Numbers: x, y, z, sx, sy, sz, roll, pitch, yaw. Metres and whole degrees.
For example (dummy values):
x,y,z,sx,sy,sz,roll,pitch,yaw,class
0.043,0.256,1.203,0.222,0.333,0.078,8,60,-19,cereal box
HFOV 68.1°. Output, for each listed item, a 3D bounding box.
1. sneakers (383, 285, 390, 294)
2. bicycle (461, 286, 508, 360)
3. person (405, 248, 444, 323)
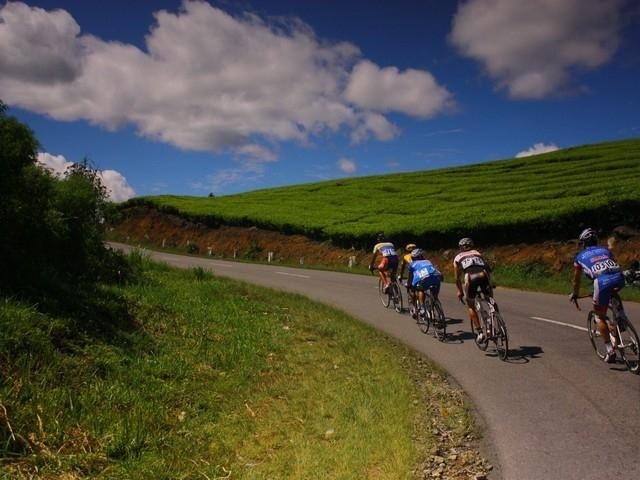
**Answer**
x,y,z,sx,sy,sz,roll,pitch,yaw,class
2.059,1.524,15.040,0.111,0.325,0.426,-4,11,-12,sneakers
3.721,1.834,10.524,0.660,1.443,1.487,-1,11,5,bicycle
2.587,1.030,12.437,0.849,1.140,1.692,-1,-18,-3,person
